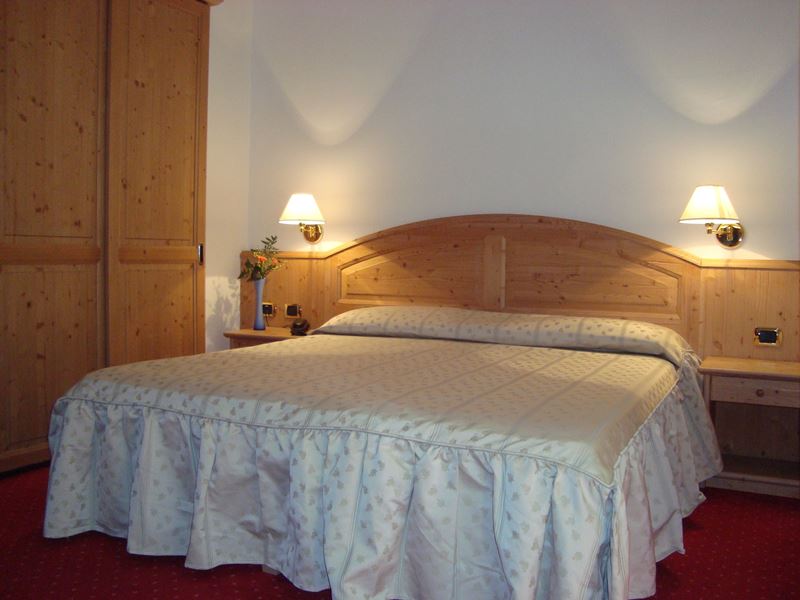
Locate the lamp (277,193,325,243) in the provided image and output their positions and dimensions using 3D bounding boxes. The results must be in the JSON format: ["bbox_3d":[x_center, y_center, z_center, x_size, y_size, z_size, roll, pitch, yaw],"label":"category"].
[{"bbox_3d":[-0.762,-0.632,4.405,0.296,0.320,0.273,12,2,-3],"label":"lamp"}]

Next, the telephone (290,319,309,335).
[{"bbox_3d":[-0.744,0.201,4.258,0.079,0.072,0.138,3,12,7],"label":"telephone"}]

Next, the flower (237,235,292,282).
[{"bbox_3d":[-1.092,-0.258,4.535,0.349,0.242,0.376,5,31,24],"label":"flower"}]

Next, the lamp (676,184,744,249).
[{"bbox_3d":[1.939,-0.496,3.490,0.366,0.398,0.313,0,5,-9],"label":"lamp"}]
